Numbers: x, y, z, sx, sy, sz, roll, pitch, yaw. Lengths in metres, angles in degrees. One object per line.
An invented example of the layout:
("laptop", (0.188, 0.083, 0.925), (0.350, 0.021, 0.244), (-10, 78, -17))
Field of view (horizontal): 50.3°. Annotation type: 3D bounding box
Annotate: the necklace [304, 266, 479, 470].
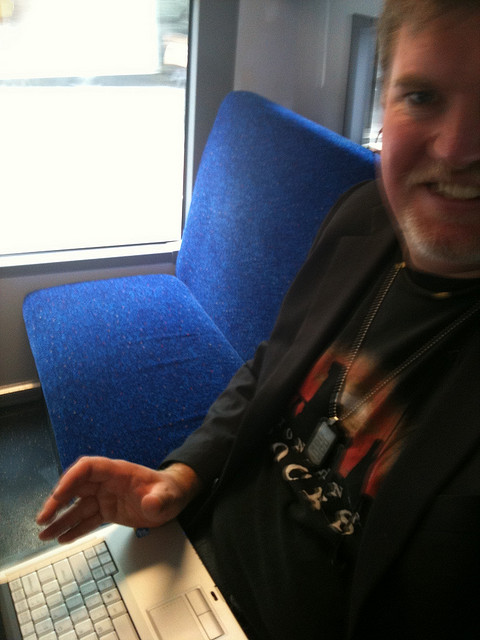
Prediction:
("necklace", (0.198, 0.092, 0.706), (0.144, 0.288, 0.136), (27, 37, 29))
